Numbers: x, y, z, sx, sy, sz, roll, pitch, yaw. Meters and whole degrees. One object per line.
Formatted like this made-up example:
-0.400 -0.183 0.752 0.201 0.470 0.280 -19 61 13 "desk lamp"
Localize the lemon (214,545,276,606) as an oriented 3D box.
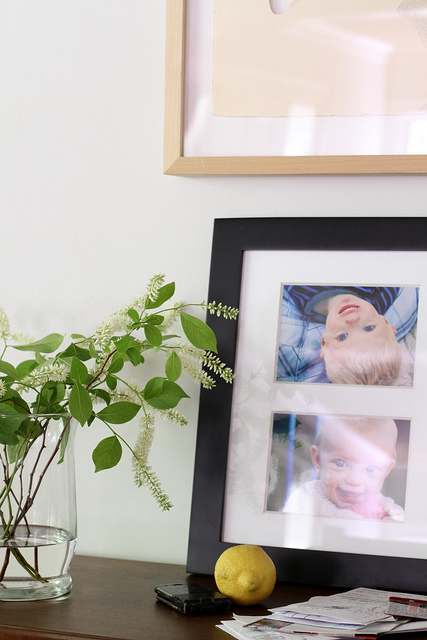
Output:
0.032 0.257 0.599 0.060 0.054 0.058 -4 -5 22 "lemon"
